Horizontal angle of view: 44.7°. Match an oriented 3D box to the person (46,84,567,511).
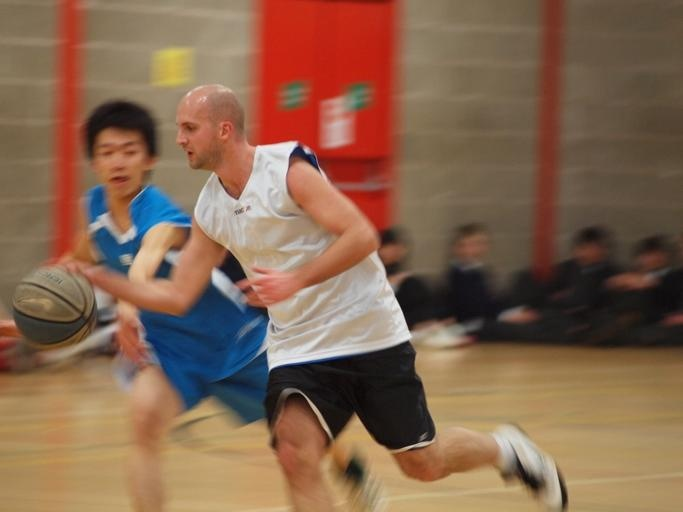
[{"bbox_3d":[-0.053,0.167,2.945,1.610,1.515,0.619,-3,9,-19],"label":"person"}]
